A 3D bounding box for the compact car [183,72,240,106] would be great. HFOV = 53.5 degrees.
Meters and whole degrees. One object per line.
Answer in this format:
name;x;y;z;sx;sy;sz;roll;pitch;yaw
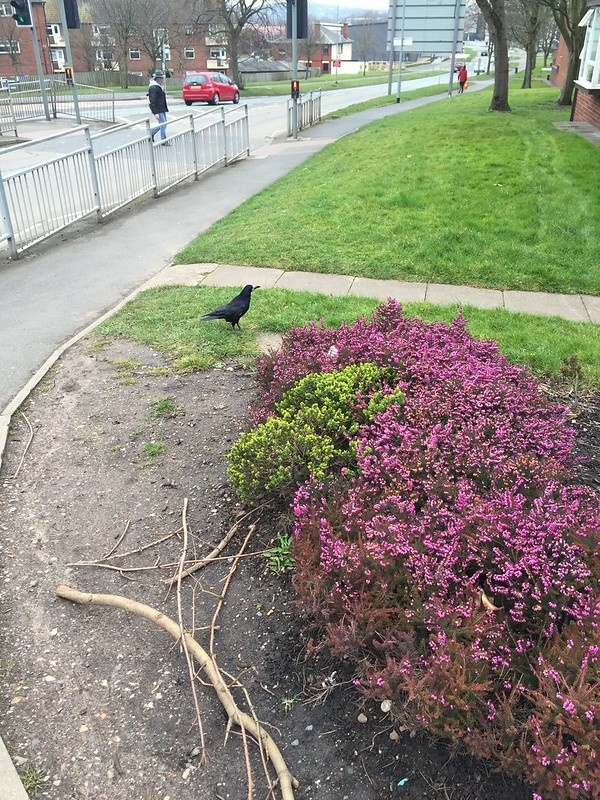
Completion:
compact car;-5.605;-19.258;36.941;1.797;1.814;3.708;10;29;24
